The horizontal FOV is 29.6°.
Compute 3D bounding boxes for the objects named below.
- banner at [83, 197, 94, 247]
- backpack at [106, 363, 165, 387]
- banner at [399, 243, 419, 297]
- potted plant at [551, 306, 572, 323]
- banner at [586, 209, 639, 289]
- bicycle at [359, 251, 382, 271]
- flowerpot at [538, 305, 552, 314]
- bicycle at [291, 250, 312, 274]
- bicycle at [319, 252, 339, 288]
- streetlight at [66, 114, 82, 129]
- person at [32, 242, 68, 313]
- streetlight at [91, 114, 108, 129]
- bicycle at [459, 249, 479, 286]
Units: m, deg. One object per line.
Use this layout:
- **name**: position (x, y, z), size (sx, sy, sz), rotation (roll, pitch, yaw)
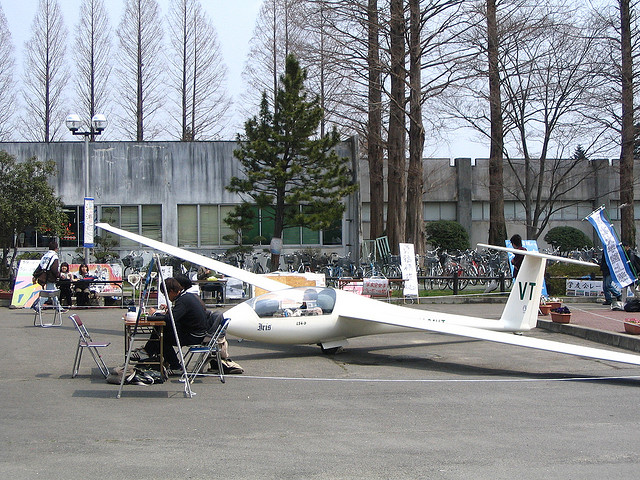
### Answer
- **banner**: position (-7.592, -0.553, 39.691), size (0.389, 1.655, 0.092), rotation (3, -6, -36)
- **backpack**: position (-4.347, 3.279, 28.702), size (0.886, 0.273, 0.650), rotation (10, -4, -13)
- **banner**: position (2.913, 1.009, 39.884), size (0.496, 2.196, 0.063), rotation (1, -37, -4)
- **potted plant**: position (6.918, 2.170, 34.721), size (0.308, 0.215, 0.569), rotation (0, 4, -14)
- **banner**: position (8.813, 0.305, 36.494), size (0.589, 2.450, 1.527), rotation (-11, 18, -39)
- **bicycle**: position (1.926, 0.884, 46.012), size (0.817, 0.512, 0.494), rotation (7, -11, -39)
- **flowerpot**: position (6.717, 2.076, 36.200), size (0.285, 0.169, 0.388), rotation (0, 0, -29)
- **bicycle**: position (-0.730, 0.898, 47.180), size (0.734, 0.761, 0.289), rotation (6, 9, 26)
- **bicycle**: position (0.547, 1.209, 46.250), size (0.714, 1.114, 1.847), rotation (9, -1, 8)
- **streetlight**: position (-8.328, -4.001, 40.790), size (0.463, 0.564, 1.073), rotation (-2, 15, -11)
- **person**: position (-8.036, 1.233, 36.127), size (0.995, 2.272, 0.848), rotation (-3, 4, -39)
- **streetlight**: position (-7.507, -4.041, 41.032), size (0.457, 0.642, 1.754), rotation (-2, 15, -10)
- **bicycle**: position (5.785, 1.053, 46.660), size (0.778, 0.847, 1.373), rotation (-8, -11, 21)
